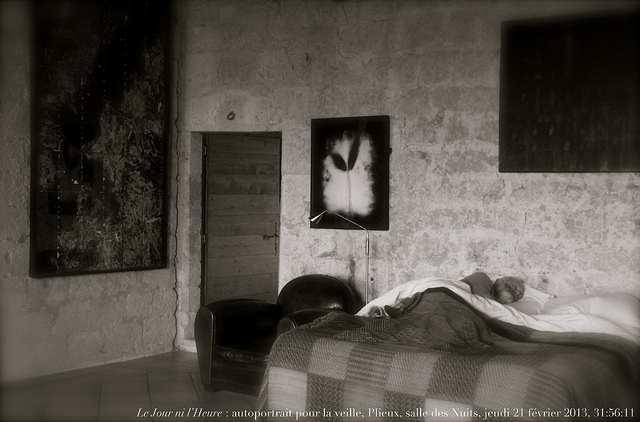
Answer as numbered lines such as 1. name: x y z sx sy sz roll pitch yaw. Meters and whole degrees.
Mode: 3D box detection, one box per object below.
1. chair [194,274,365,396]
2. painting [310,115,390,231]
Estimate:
1. chair: -0.369 1.076 4.946 1.169 0.993 1.143 -3 -9 32
2. painting: 0.340 -0.397 5.300 0.862 1.187 0.066 3 0 19
